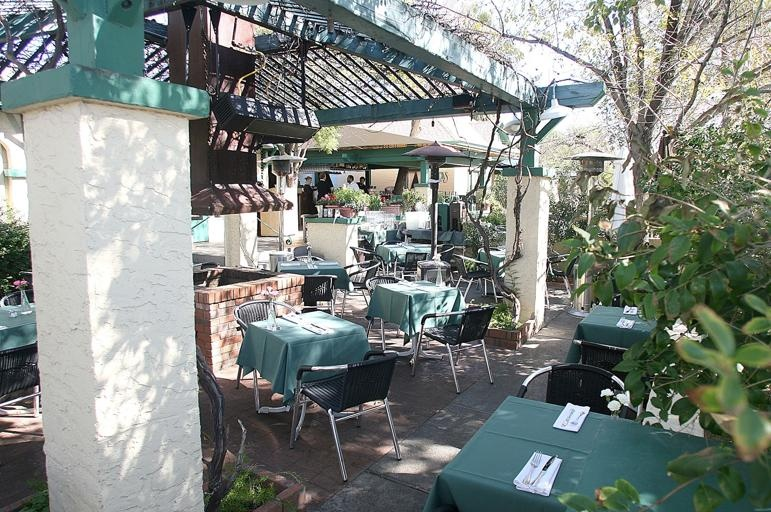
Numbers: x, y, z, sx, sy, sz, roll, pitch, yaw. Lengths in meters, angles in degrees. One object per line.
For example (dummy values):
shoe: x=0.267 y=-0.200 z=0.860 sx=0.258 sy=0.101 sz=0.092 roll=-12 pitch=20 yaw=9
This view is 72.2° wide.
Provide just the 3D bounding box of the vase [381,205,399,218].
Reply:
vase: x=0.127 y=-1.147 z=13.399 sx=0.431 sy=0.165 sz=0.285 roll=-1 pitch=5 yaw=-2

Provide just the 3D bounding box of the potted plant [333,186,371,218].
potted plant: x=-0.721 y=-1.131 z=10.988 sx=0.722 sy=0.544 sz=1.097 roll=0 pitch=11 yaw=-6

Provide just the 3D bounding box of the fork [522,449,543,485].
fork: x=0.759 y=1.087 z=2.707 sx=0.052 sy=0.035 sz=0.340 roll=6 pitch=16 yaw=23

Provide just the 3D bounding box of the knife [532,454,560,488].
knife: x=0.855 y=1.089 z=2.806 sx=0.057 sy=0.048 sz=0.461 roll=-1 pitch=10 yaw=28
